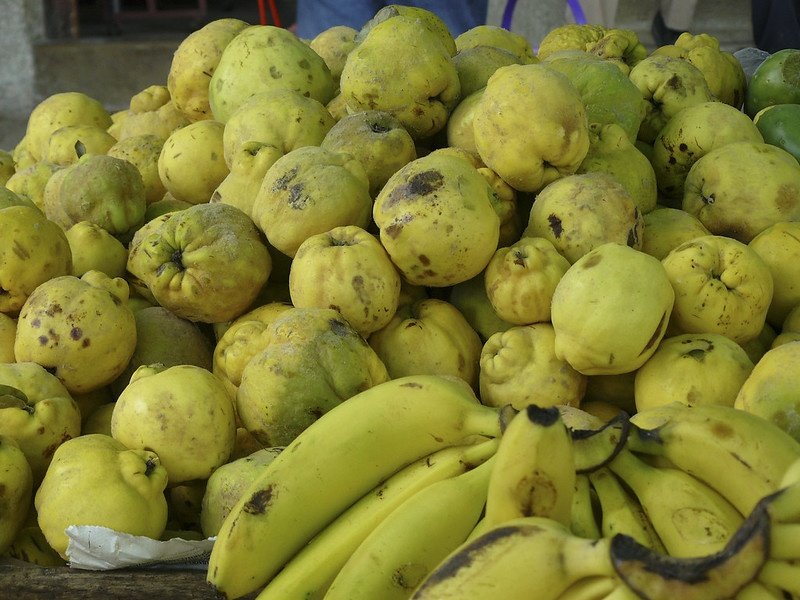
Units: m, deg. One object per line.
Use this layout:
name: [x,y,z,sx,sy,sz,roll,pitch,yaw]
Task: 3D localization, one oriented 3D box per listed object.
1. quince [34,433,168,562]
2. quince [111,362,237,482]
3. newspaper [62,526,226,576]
quince: [-0.817,0.554,2.544,0.320,0.355,0.331,9,-10,-10]
quince: [-0.611,0.334,2.669,0.324,0.354,0.332,-13,6,14]
newspaper: [-0.698,0.665,2.300,0.256,0.081,0.181,23,-13,-11]
